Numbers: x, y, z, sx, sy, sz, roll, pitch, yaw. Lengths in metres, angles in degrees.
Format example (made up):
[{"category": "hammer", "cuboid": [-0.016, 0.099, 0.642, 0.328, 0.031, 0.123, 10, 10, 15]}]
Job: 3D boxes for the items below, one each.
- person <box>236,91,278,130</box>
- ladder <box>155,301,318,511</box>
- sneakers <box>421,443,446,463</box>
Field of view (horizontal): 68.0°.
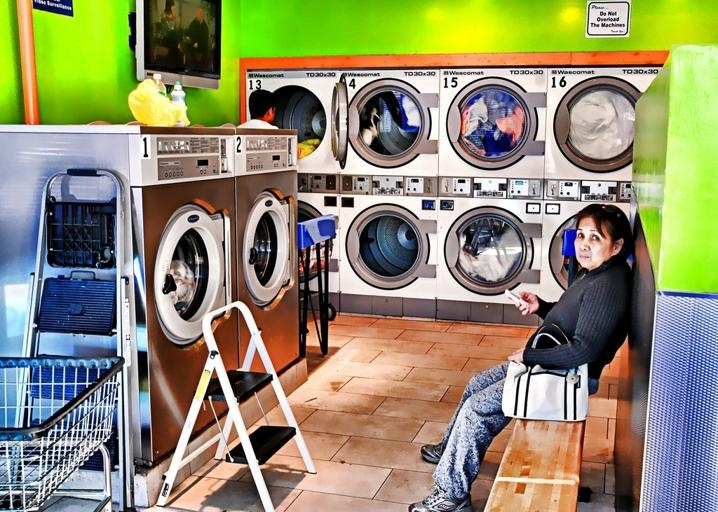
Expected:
[{"category": "person", "cuboid": [-0.845, -1.260, 4.516, 0.237, 0.346, 0.933, -2, 12, -11]}, {"category": "ladder", "cuboid": [-0.759, 0.754, 3.435, 0.960, 1.432, 0.915, 1, 6, 10]}, {"category": "sneakers", "cuboid": [0.460, 1.209, 3.327, 0.204, 0.105, 0.078, -3, 4, 23]}]
